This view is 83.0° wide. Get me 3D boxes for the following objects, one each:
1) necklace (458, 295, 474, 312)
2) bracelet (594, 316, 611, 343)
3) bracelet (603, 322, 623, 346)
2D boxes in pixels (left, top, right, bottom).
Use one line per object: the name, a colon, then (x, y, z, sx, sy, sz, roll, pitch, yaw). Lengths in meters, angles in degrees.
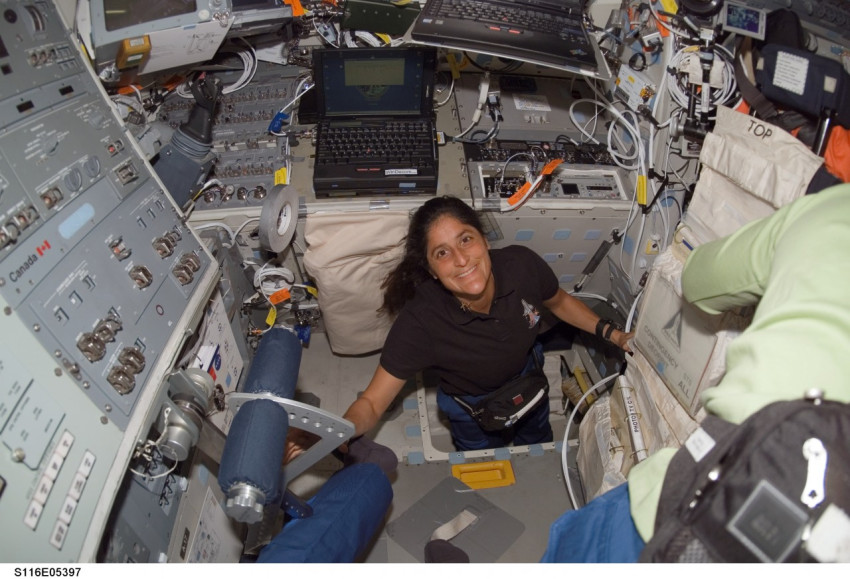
necklace: (0.210, 0.064, 2.423, 0.046, 0.055, 0.074, -9, 43, -35)
bracelet: (0.997, 0.224, 2.712, 0.110, 0.048, 0.087, 19, 74, 47)
bracelet: (1.036, 0.238, 2.656, 0.113, 0.048, 0.086, 35, 37, 27)
